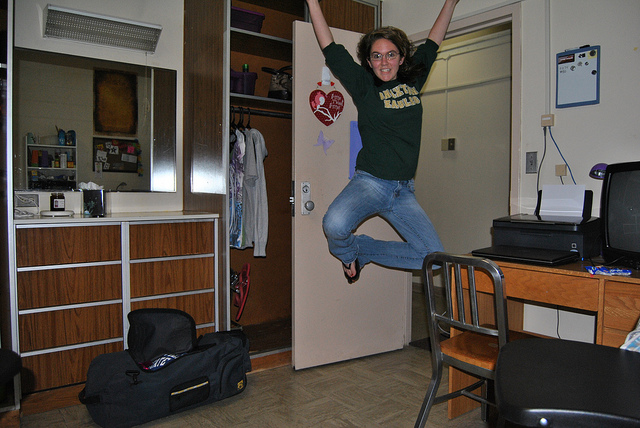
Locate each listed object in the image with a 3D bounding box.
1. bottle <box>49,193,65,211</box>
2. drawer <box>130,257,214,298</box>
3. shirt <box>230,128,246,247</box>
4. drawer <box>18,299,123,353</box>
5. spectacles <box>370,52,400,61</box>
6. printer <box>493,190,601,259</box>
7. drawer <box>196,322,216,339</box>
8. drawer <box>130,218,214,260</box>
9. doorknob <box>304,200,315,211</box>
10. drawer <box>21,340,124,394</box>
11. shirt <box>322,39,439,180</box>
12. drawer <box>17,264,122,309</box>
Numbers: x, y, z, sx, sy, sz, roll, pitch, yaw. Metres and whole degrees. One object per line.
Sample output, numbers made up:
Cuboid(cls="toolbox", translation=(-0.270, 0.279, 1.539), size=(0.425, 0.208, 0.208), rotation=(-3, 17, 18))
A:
Cuboid(cls="bottle", translation=(-1.991, -0.091, 3.524), size=(0.132, 0.147, 0.108), rotation=(0, -1, -15))
Cuboid(cls="drawer", translation=(-1.169, 0.491, 3.700), size=(0.668, 0.284, 0.364), rotation=(-1, -4, -16))
Cuboid(cls="shirt", translation=(-0.692, -0.216, 3.889), size=(0.133, 0.935, 0.285), rotation=(-1, 12, -6))
Cuboid(cls="drawer", translation=(-1.710, 0.765, 3.243), size=(0.566, 0.287, 0.251), rotation=(-2, 4, -34))
Cuboid(cls="spectacles", translation=(0.420, -1.027, 3.038), size=(0.170, 0.051, 0.034), rotation=(1, 12, 5))
Cuboid(cls="printer", translation=(1.542, 0.055, 3.135), size=(0.433, 0.473, 0.529), rotation=(-2, 3, -37))
Cuboid(cls="drawer", translation=(-0.907, 0.881, 3.666), size=(0.163, 0.104, 0.086), rotation=(-1, 0, -37))
Cuboid(cls="drawer", translation=(-1.120, 0.172, 3.539), size=(0.631, 0.298, 0.054), rotation=(-7, 14, -28))
Cuboid(cls="doorknob", translation=(-0.082, -0.065, 3.625), size=(0.079, 0.087, 0.034), rotation=(-5, 13, -21))
Cuboid(cls="drawer", translation=(-1.697, 1.040, 3.139), size=(0.498, 0.121, 0.461), rotation=(-1, 0, -37))
Cuboid(cls="shirt", translation=(0.430, -0.789, 3.203), size=(0.995, 1.179, 0.389), rotation=(-2, 2, -17))
Cuboid(cls="drawer", translation=(-1.727, 0.493, 3.235), size=(0.647, 0.268, 0.050), rotation=(-6, 14, -25))
